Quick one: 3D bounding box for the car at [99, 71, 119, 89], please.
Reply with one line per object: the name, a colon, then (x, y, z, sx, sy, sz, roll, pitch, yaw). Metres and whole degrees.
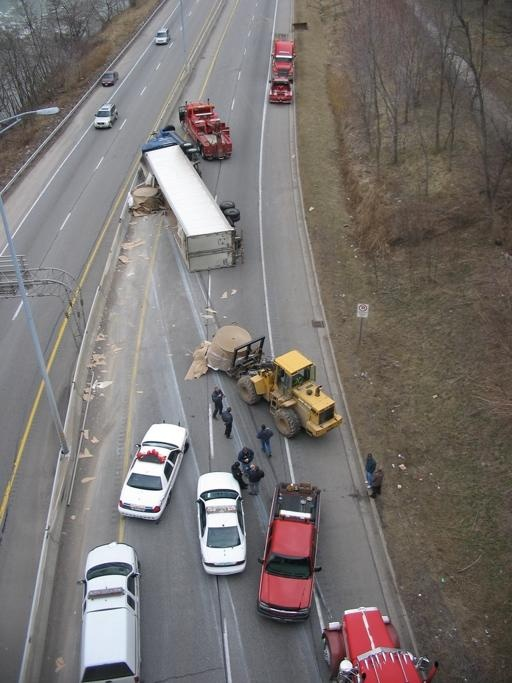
car: (-12.656, -22.413, 58.651, 1.257, 0.987, 1.646, -4, 33, 14)

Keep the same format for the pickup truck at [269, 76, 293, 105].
pickup truck: (1.738, -18.020, 49.495, 1.654, 1.770, 1.076, -11, 30, 1)

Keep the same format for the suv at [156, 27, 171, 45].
suv: (-9.145, -29.789, 66.897, 0.998, 1.161, 2.266, -1, 46, -2)

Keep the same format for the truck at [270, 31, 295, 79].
truck: (2.116, -22.194, 53.300, 1.823, 2.636, 6.685, 1, 59, 2)

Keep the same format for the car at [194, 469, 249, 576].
car: (-0.946, 5.029, 19.088, 1.302, 2.346, 1.374, -2, 17, -10)

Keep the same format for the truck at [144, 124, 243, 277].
truck: (-4.061, -8.077, 37.254, 2.632, 3.141, 15.849, -17, 33, -9)

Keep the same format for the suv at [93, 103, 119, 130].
suv: (-10.990, -16.405, 50.267, 1.114, 1.028, 2.643, -1, 49, -2)

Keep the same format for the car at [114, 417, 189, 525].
car: (-3.096, 3.895, 20.760, 1.162, 0.964, 3.107, -2, 35, 16)

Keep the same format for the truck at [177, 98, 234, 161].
truck: (-3.172, -13.355, 43.983, 2.156, 2.889, 5.853, -12, 48, -11)

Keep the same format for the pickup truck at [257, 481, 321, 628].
pickup truck: (0.954, 5.517, 18.823, 1.320, 1.287, 4.590, 4, 37, 6)
